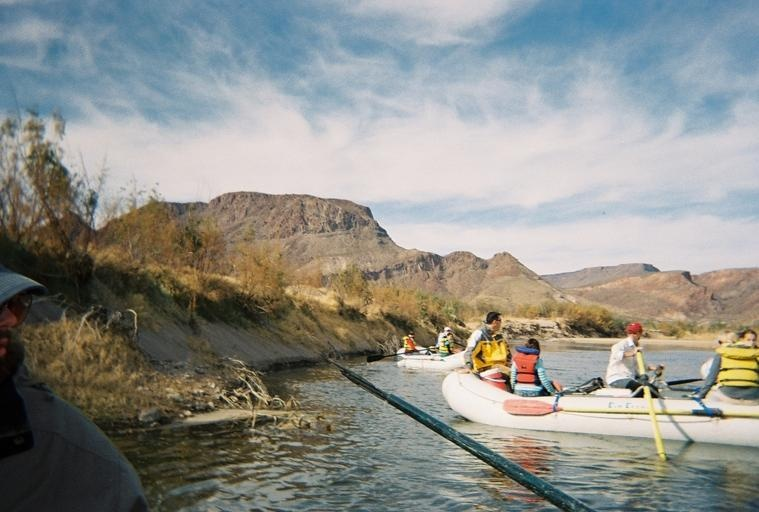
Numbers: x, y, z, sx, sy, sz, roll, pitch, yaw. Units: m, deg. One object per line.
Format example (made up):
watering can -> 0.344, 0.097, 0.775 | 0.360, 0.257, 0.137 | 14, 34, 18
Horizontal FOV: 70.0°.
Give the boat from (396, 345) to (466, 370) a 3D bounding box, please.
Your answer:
boat -> 2.432, 5.237, 26.944 | 3.381, 0.925, 2.417 | -10, -17, 35
